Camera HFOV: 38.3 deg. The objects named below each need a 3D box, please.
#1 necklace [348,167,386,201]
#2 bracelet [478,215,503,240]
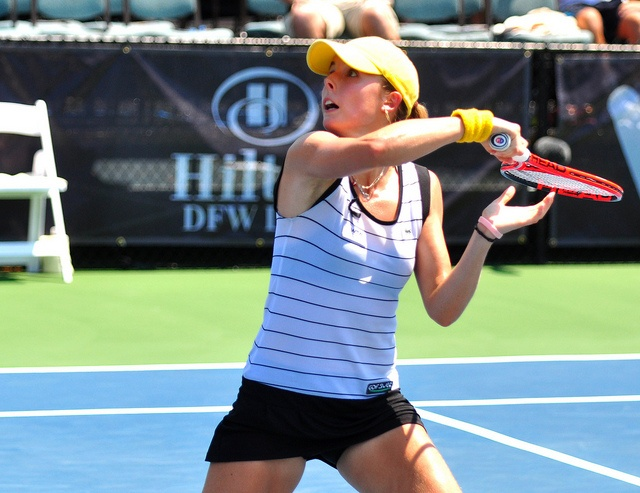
[{"bbox_3d":[0.257,-0.316,4.953,0.134,0.191,0.054,5,-25,-7],"label":"necklace"},{"bbox_3d":[0.910,-0.088,4.957,0.129,0.034,0.120,41,4,-42],"label":"bracelet"}]
